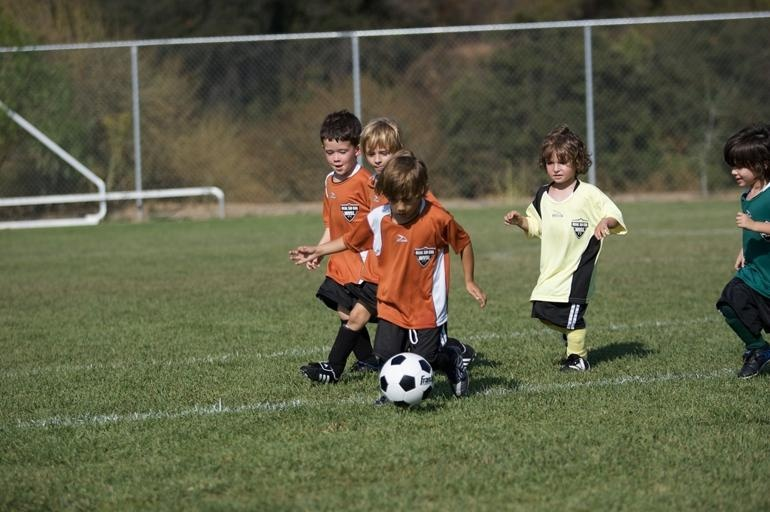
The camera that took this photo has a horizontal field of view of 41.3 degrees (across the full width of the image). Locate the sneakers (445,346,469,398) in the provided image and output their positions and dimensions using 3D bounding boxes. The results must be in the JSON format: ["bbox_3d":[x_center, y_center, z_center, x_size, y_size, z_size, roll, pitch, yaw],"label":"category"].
[{"bbox_3d":[0.613,0.951,8.348,0.195,0.440,0.141,-15,12,-41],"label":"sneakers"}]

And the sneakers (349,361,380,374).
[{"bbox_3d":[-0.166,0.986,8.980,0.227,0.087,0.111,3,-2,5],"label":"sneakers"}]

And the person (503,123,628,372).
[{"bbox_3d":[1.598,-0.077,8.879,0.910,2.092,0.462,-2,6,13],"label":"person"}]

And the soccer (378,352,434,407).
[{"bbox_3d":[0.199,0.990,8.250,0.405,0.409,0.481,2,38,3],"label":"soccer"}]
